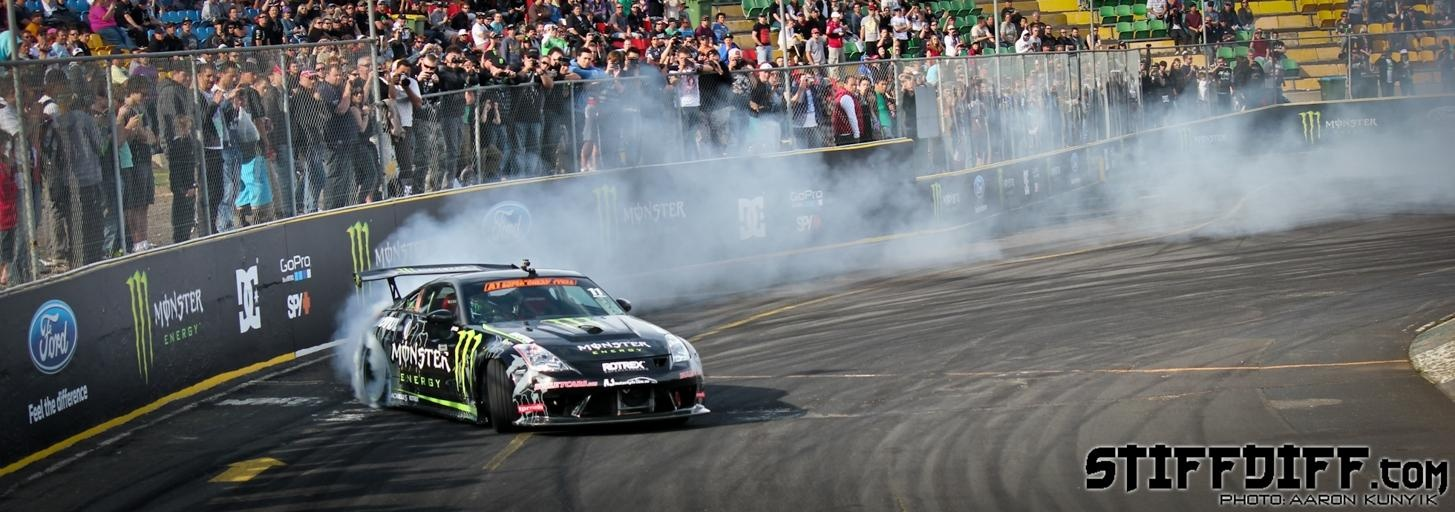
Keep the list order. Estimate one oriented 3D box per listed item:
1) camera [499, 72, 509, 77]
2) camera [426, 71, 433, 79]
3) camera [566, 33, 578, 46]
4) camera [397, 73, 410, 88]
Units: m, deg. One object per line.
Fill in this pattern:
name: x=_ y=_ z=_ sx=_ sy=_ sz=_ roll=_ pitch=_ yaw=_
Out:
camera: x=-7.449 y=-6.317 z=45.764 sx=0.338 sy=0.208 sz=0.084 roll=-1 pitch=15 yaw=17
camera: x=-9.726 y=-6.131 z=44.577 sx=0.288 sy=0.245 sz=0.113 roll=-10 pitch=14 yaw=-18
camera: x=-5.687 y=-8.321 z=50.656 sx=0.521 sy=0.211 sz=0.625 roll=-12 pitch=29 yaw=-17
camera: x=-10.313 y=-5.798 z=43.651 sx=0.158 sy=0.392 sz=0.480 roll=4 pitch=16 yaw=39
